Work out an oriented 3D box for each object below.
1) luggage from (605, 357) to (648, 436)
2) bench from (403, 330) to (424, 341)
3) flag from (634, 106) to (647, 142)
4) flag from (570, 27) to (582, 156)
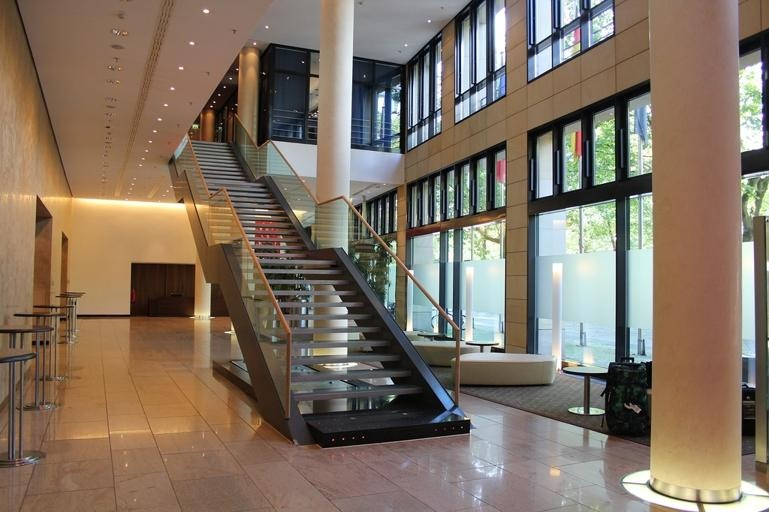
[{"bbox_3d":[3.138,1.869,7.104,0.670,0.914,0.598,5,-4,-33],"label":"luggage"},{"bbox_3d":[0.474,1.261,8.427,0.265,0.142,0.394,-5,-6,42],"label":"bench"},{"bbox_3d":[5.024,-2.546,10.426,0.038,0.703,0.267,1,-5,-33],"label":"flag"},{"bbox_3d":[4.251,-3.578,11.727,0.154,2.840,0.543,-2,-4,9],"label":"flag"}]
